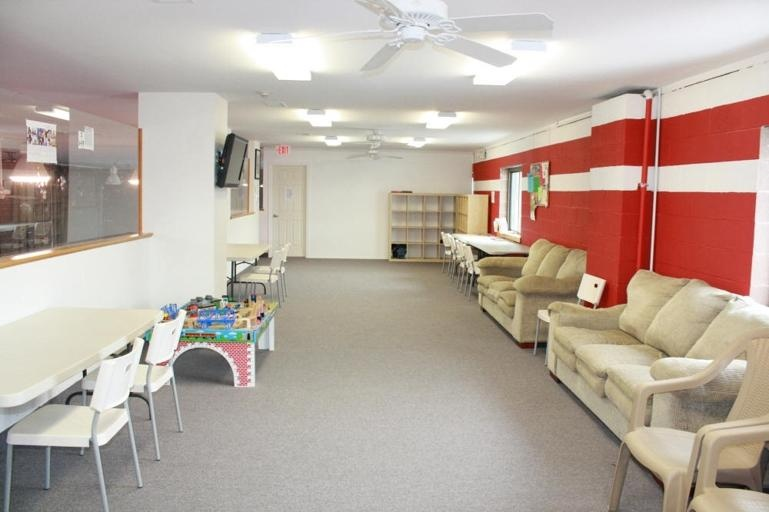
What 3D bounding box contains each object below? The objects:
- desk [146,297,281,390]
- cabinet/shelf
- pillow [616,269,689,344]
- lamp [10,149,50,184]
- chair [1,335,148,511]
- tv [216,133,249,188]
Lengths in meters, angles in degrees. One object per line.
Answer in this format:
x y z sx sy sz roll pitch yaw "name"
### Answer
-1.742 0.845 5.340 0.841 0.507 1.212 0 4 0 "desk"
1.335 -0.743 12.509 2.030 1.542 0.606 0 1 -3 "cabinet/shelf"
2.612 0.511 4.851 0.342 0.592 0.654 -6 4 -10 "pillow"
-3.104 -0.732 4.384 0.189 0.169 0.184 3 3 12 "lamp"
-2.098 1.142 3.426 0.783 1.147 0.826 6 12 21 "chair"
-2.216 -1.365 7.268 0.339 0.768 0.806 -1 11 -7 "tv"
